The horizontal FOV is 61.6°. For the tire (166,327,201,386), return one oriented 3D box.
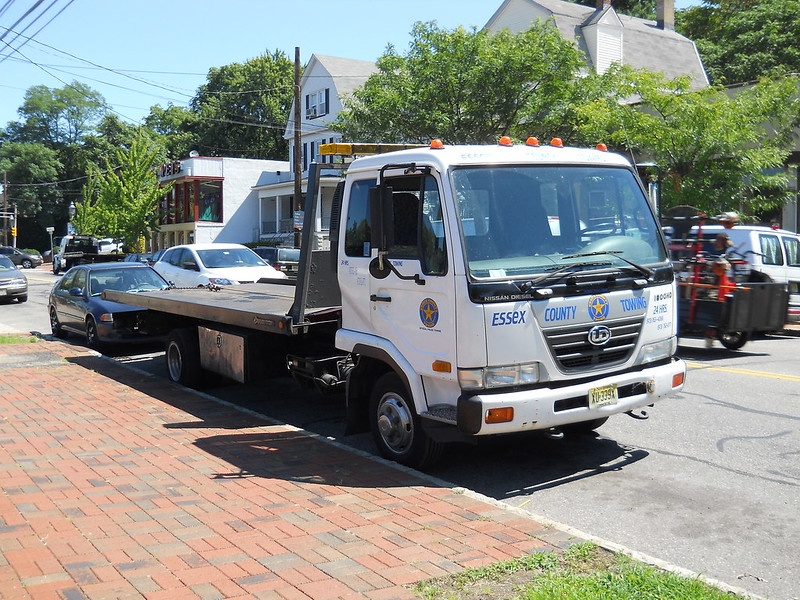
[{"bbox_3d":[-3.355,0.879,10.396,0.328,0.904,0.976,-5,4,-39],"label":"tire"}]

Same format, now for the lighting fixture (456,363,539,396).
[{"bbox_3d":[0.862,0.666,5.807,0.433,0.127,0.314,-5,2,-22],"label":"lighting fixture"}]

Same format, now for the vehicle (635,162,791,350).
[{"bbox_3d":[6.482,-0.645,13.780,2.985,2.456,4.650,4,8,40],"label":"vehicle"}]

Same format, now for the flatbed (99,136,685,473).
[{"bbox_3d":[0.393,-0.094,7.467,2.648,2.141,7.039,-4,4,-37],"label":"flatbed"}]
